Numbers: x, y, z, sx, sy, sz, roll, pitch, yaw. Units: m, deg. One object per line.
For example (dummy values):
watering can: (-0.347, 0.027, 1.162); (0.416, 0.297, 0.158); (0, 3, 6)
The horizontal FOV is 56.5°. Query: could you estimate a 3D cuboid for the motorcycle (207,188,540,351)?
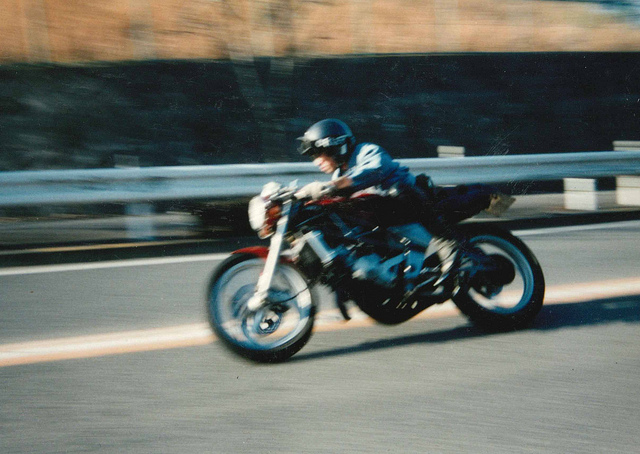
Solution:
motorcycle: (0.407, 0.192, 4.570); (2.759, 0.918, 0.936); (-9, -8, -22)
